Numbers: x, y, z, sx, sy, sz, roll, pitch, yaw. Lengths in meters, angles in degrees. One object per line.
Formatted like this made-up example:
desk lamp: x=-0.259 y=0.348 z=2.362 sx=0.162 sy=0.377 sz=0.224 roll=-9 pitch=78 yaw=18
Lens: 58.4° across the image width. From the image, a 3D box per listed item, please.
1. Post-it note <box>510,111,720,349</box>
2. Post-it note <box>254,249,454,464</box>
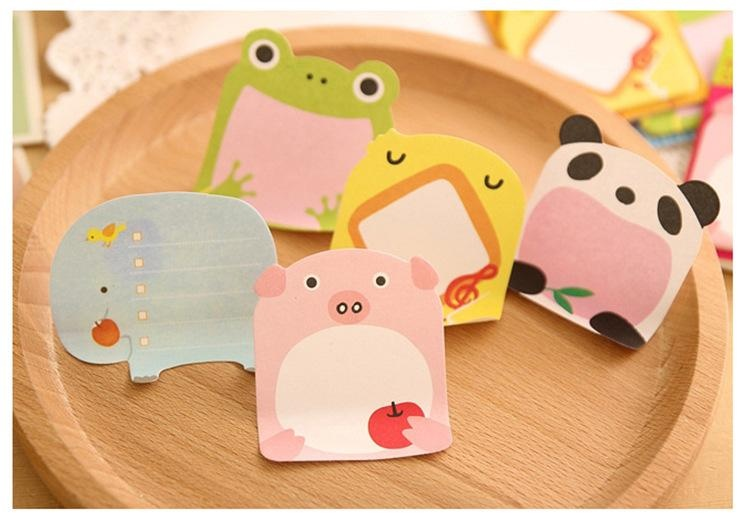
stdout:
Post-it note: x=0.406 y=-0.035 z=1.181 sx=0.305 sy=0.340 sz=0.025 roll=28 pitch=12 yaw=8
Post-it note: x=-0.044 y=0.166 z=1.105 sx=0.346 sy=0.371 sz=0.005 roll=-2 pitch=13 yaw=2
